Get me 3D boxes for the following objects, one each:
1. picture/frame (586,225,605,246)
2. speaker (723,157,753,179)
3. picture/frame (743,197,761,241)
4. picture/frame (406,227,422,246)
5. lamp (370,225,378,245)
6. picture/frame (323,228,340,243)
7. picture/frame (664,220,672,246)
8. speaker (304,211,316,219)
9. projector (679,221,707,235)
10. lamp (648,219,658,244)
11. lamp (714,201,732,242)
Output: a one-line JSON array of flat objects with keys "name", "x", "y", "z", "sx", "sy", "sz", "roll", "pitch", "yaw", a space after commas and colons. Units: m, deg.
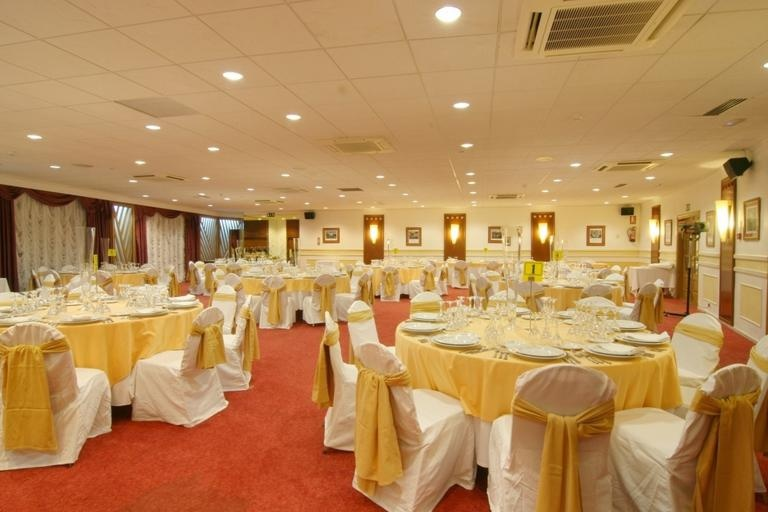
[{"name": "picture/frame", "x": 7.029, "y": -0.717, "z": 15.956, "sx": 0.660, "sy": 0.819, "sz": 0.059, "roll": -1, "pitch": 3, "yaw": 15}, {"name": "speaker", "x": 6.011, "y": -1.513, "z": 8.191, "sx": 0.287, "sy": 0.344, "sz": 0.540, "roll": 0, "pitch": 12, "yaw": 20}, {"name": "picture/frame", "x": 5.959, "y": -0.609, "z": 7.792, "sx": 0.066, "sy": 0.875, "sz": 0.760, "roll": 1, "pitch": -1, "yaw": 19}, {"name": "picture/frame", "x": 1.059, "y": -0.741, "z": 17.224, "sx": 0.646, "sy": 0.769, "sz": 0.054, "roll": -1, "pitch": 4, "yaw": 10}, {"name": "lamp", "x": -0.383, "y": -0.837, "z": 17.456, "sx": 0.369, "sy": 0.672, "sz": 0.204, "roll": -4, "pitch": 13, "yaw": 1}, {"name": "picture/frame", "x": -1.947, "y": -0.813, "z": 17.773, "sx": 0.552, "sy": 0.518, "sz": 0.041, "roll": 1, "pitch": 1, "yaw": 2}, {"name": "picture/frame", "x": 7.598, "y": -0.652, "z": 12.871, "sx": 0.098, "sy": 0.731, "sz": 1.015, "roll": 1, "pitch": 13, "yaw": 23}, {"name": "speaker", "x": -2.770, "y": -1.529, "z": 17.760, "sx": 0.483, "sy": 0.358, "sz": 0.243, "roll": 2, "pitch": 11, "yaw": 3}, {"name": "projector", "x": 5.725, "y": -0.500, "z": 8.897, "sx": 0.349, "sy": 0.333, "sz": 0.761, "roll": 3, "pitch": 13, "yaw": 30}, {"name": "lamp", "x": 7.877, "y": -0.754, "z": 14.068, "sx": 0.147, "sy": 0.696, "sz": 0.667, "roll": -1, "pitch": 13, "yaw": 17}, {"name": "lamp", "x": 6.124, "y": -0.630, "z": 8.698, "sx": 0.236, "sy": 0.765, "sz": 0.463, "roll": 2, "pitch": 14, "yaw": 26}]
